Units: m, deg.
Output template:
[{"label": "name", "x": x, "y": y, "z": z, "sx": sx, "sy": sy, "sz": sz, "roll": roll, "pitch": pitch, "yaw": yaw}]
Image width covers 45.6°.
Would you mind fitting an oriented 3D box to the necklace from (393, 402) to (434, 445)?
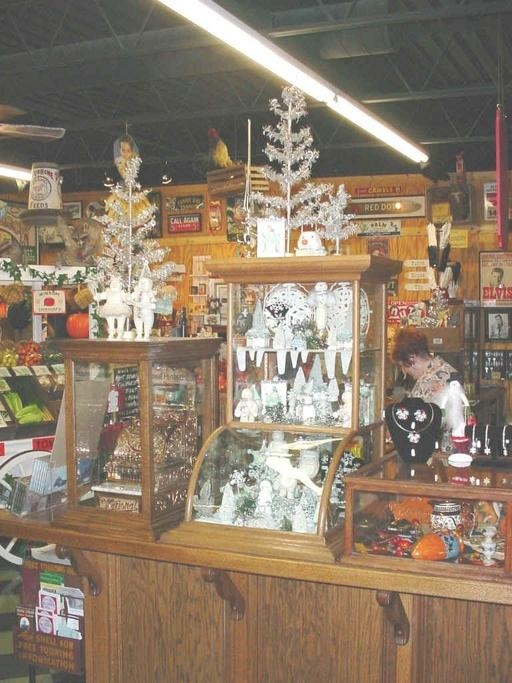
[{"label": "necklace", "x": 0.581, "y": 0.294, "z": 2.237, "sx": 0.159, "sy": 0.167, "sz": 0.067, "roll": 0, "pitch": 9, "yaw": 19}]
